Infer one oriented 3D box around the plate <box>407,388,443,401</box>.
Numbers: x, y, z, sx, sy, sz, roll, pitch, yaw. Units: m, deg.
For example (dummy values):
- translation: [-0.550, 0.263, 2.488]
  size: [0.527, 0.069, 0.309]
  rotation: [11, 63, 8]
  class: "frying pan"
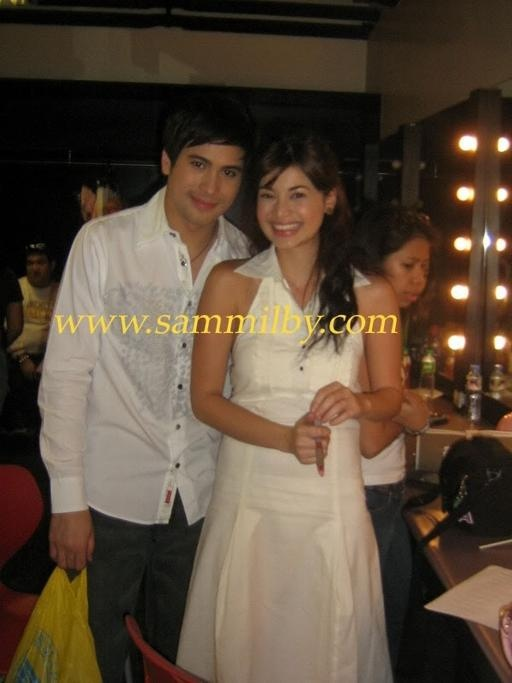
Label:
- translation: [0.681, 0.209, 2.283]
  size: [0.095, 0.027, 0.111]
  rotation: [-8, 11, -2]
  class: "plate"
